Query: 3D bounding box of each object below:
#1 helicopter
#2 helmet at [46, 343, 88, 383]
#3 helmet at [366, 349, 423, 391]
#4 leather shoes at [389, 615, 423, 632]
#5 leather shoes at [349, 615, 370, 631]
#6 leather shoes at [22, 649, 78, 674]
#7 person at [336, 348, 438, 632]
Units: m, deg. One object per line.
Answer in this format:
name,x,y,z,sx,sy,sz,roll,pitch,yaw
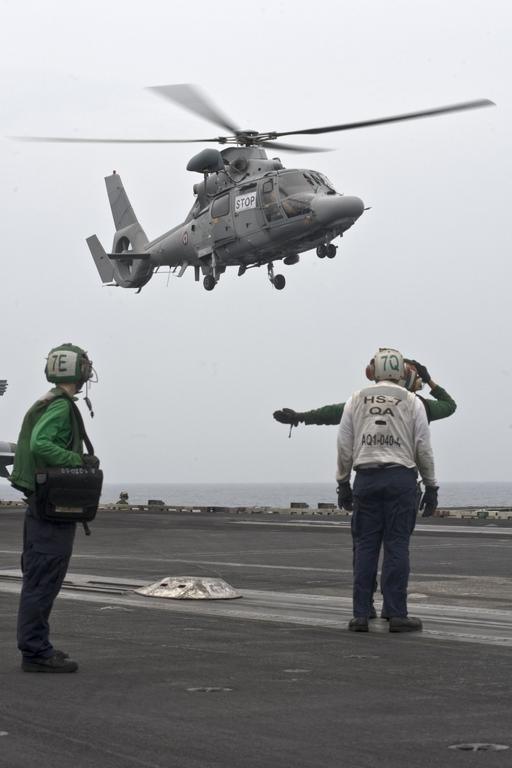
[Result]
helicopter,-1.763,-4.681,29.687,7.565,3.474,9.837,-4,-1,-33
helmet,-0.961,-0.088,5.286,0.219,0.182,0.210,0,6,3
helmet,0.920,-0.069,6.911,0.268,0.254,0.283,2,-11,-11
leather shoes,0.966,1.557,6.676,0.244,0.107,0.087,-5,5,-28
leather shoes,0.666,1.548,6.628,0.134,0.093,0.163,5,0,7
leather shoes,-1.014,1.376,5.093,0.249,0.102,0.234,4,0,-19
person,0.868,0.716,6.901,0.713,1.907,0.807,5,0,8
